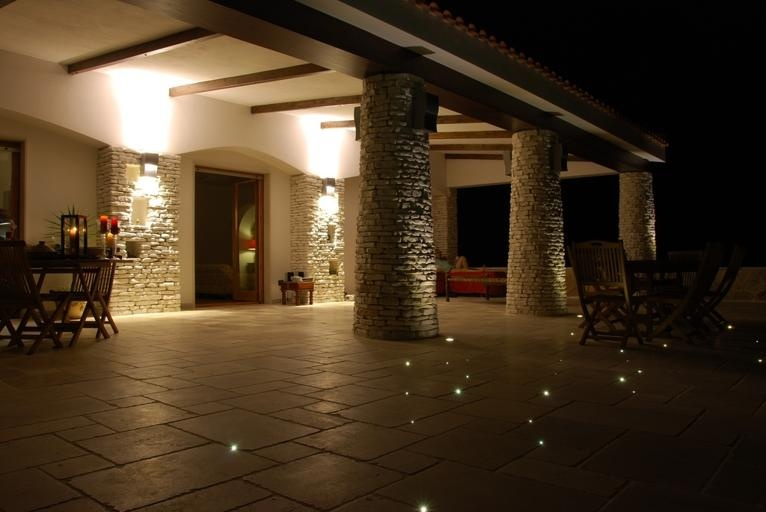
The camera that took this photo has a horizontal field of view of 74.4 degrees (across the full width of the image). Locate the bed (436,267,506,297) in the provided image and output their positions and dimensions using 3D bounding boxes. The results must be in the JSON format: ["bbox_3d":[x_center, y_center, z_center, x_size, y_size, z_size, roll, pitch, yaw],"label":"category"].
[{"bbox_3d":[2.680,0.802,14.177,1.984,0.909,1.582,1,1,44],"label":"bed"}]

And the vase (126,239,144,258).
[{"bbox_3d":[-4.640,-0.134,9.454,0.329,0.359,0.422,0,-1,-40],"label":"vase"}]

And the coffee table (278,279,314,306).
[{"bbox_3d":[-2.078,0.793,12.021,0.959,0.580,0.682,1,2,34],"label":"coffee table"}]
